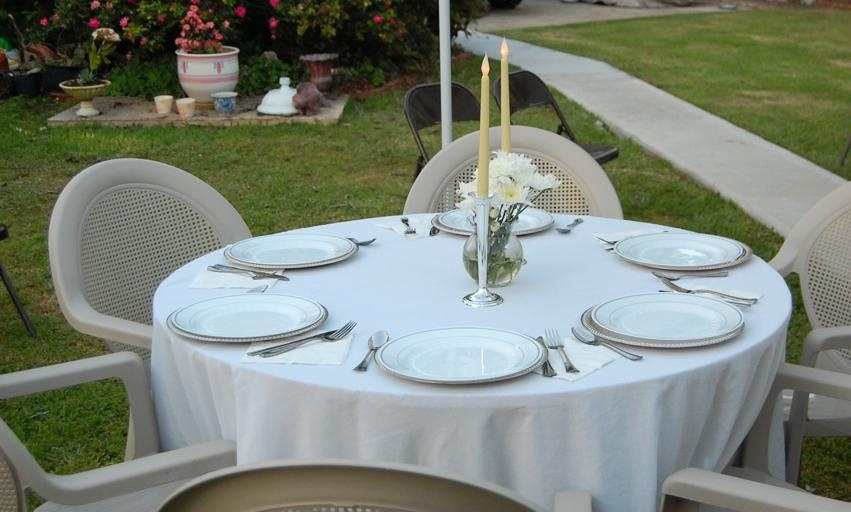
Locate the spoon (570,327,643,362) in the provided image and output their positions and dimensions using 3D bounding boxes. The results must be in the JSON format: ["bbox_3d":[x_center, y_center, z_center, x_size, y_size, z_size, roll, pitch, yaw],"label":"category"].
[{"bbox_3d":[0.572,0.276,2.090,0.054,0.038,0.242,-30,34,-33],"label":"spoon"}]

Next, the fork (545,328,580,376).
[{"bbox_3d":[0.434,0.293,2.083,0.038,0.030,0.212,-13,30,-4],"label":"fork"}]

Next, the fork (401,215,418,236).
[{"bbox_3d":[-0.068,-0.128,2.884,0.053,0.031,0.092,-1,39,-12],"label":"fork"}]

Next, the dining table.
[{"bbox_3d":[0.143,0.389,2.422,2.241,0.549,1.110,6,29,11],"label":"dining table"}]

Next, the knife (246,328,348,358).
[{"bbox_3d":[-0.402,0.274,2.133,0.270,0.075,0.186,1,-1,-6],"label":"knife"}]

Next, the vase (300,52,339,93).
[{"bbox_3d":[-1.503,-2.587,9.573,0.586,0.488,0.591,-5,10,-1],"label":"vase"}]

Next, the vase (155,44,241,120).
[{"bbox_3d":[-2.821,-2.334,8.655,0.786,0.651,0.806,-7,19,-21],"label":"vase"}]

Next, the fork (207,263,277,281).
[{"bbox_3d":[-0.693,0.065,2.516,0.169,0.007,0.044,9,31,14],"label":"fork"}]

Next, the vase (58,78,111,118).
[{"bbox_3d":[-4.356,-1.985,8.492,0.520,0.378,0.540,14,20,38],"label":"vase"}]

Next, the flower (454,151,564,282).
[{"bbox_3d":[0.280,-0.157,2.394,0.263,0.570,0.574,1,1,3],"label":"flower"}]

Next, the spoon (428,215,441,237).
[{"bbox_3d":[0.038,-0.130,2.875,0.031,0.028,0.101,10,35,-7],"label":"spoon"}]

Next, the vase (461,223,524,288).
[{"bbox_3d":[0.252,-0.016,2.470,0.232,0.236,0.245,1,16,3],"label":"vase"}]
